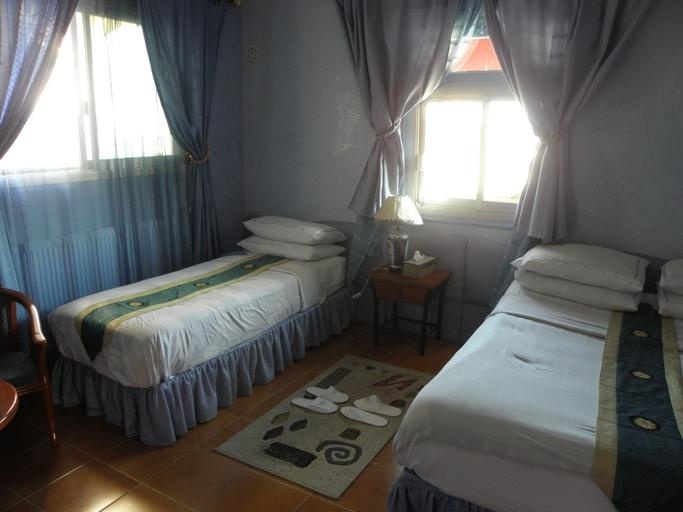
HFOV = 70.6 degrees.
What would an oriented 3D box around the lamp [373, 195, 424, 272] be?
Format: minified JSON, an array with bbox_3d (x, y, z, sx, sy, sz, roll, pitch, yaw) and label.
[{"bbox_3d":[0.498,-0.216,4.138,0.377,0.625,0.445,3,14,12],"label":"lamp"}]

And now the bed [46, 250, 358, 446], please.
[{"bbox_3d":[-0.846,0.575,3.693,0.973,0.577,1.808,9,14,32],"label":"bed"}]

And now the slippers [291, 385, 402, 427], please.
[{"bbox_3d":[0.041,1.044,3.322,0.536,0.087,0.280,7,9,27],"label":"slippers"}]

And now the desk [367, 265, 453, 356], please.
[{"bbox_3d":[0.574,0.273,4.230,0.838,0.854,0.655,6,13,31],"label":"desk"}]

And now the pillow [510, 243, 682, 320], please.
[{"bbox_3d":[1.735,0.139,3.237,0.802,0.280,0.489,8,15,27],"label":"pillow"}]
